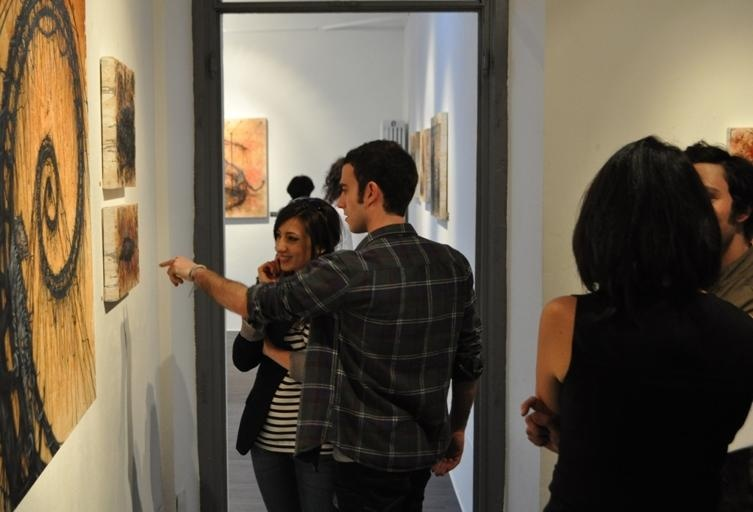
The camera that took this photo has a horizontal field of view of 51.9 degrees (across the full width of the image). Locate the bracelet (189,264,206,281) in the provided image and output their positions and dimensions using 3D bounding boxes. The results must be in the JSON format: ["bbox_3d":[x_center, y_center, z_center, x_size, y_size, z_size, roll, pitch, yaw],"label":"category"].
[{"bbox_3d":[-0.670,0.059,2.881,0.059,0.053,0.117,-2,2,-17],"label":"bracelet"}]
